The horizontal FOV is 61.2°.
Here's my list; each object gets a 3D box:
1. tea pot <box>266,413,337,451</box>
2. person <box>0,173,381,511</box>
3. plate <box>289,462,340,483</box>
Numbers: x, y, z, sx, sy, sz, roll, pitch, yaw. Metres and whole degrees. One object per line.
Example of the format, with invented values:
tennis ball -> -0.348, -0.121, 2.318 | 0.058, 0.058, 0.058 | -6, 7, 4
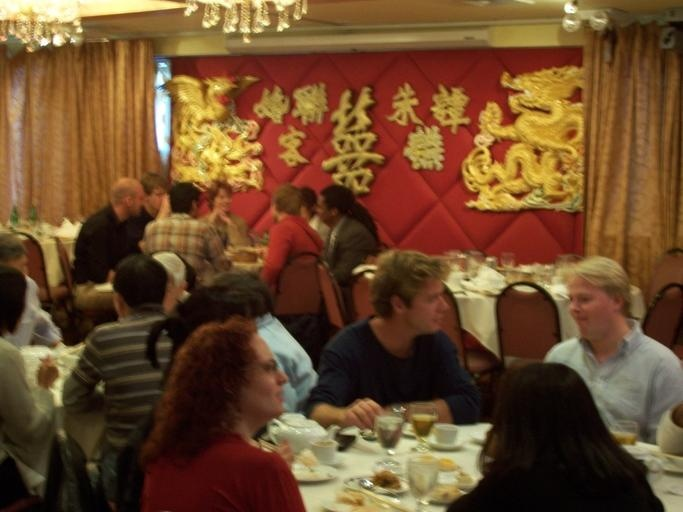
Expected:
tea pot -> -0.115, 0.514, 1.721 | 0.177, 0.070, 0.139 | 5, 0, -17
person -> -0.489, 0.407, 1.919 | 0.607, 0.688, 1.085 | 1, 2, 13
plate -> -0.072, 0.576, 1.545 | 0.121, 0.029, 0.109 | 0, 2, -14
